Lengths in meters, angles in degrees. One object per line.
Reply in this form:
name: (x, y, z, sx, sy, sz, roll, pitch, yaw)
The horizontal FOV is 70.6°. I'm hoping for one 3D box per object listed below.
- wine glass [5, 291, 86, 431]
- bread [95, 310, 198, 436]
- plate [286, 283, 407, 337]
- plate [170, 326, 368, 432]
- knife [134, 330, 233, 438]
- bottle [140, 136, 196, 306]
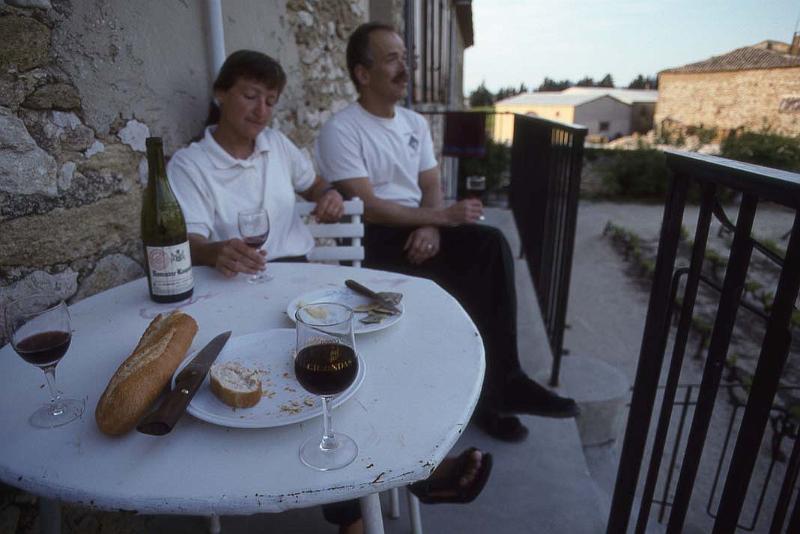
wine glass: (-0.942, 0.231, 1.535, 0.295, 0.341, 0.198, 0, 14, -36)
bread: (-0.694, 0.267, 1.563, 0.259, 0.266, 0.224, 11, 11, 38)
plate: (-0.155, 0.129, 1.873, 0.313, 0.152, 0.328, -11, 17, -43)
plate: (-0.368, 0.326, 1.574, 0.269, 0.045, 0.319, 10, 30, 12)
knife: (-0.570, 0.296, 1.533, 0.064, 0.052, 0.383, 12, 29, 3)
bottle: (-0.774, -0.134, 1.959, 0.187, 0.618, 0.180, 0, 12, 0)
